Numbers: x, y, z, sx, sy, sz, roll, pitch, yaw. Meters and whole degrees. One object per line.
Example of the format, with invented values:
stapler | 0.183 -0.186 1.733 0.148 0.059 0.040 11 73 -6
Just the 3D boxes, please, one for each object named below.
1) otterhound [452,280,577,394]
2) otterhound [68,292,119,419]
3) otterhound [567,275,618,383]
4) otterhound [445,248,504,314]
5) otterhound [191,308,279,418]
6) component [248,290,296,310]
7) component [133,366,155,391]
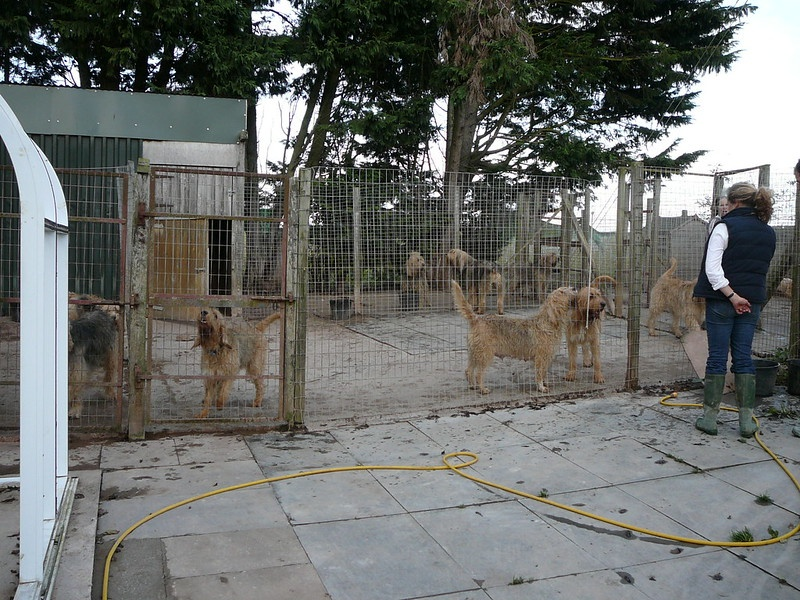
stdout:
otterhound | 1.394 0.487 8.314 1.565 1.314 0.542 1 -7 -9
otterhound | -3.235 0.502 7.330 0.522 1.358 1.523 -5 14 -22
otterhound | 2.390 0.330 8.782 0.679 1.507 0.673 3 6 -6
otterhound | 1.355 -0.330 12.590 0.807 1.140 0.827 2 7 -12
otterhound | -1.775 0.586 7.763 0.496 1.205 2.001 2 1 19
component | -1.248 -0.006 6.815 0.434 0.165 0.163 -1 13 -9
component | -2.433 0.728 6.618 0.207 0.231 0.197 0 4 -21
